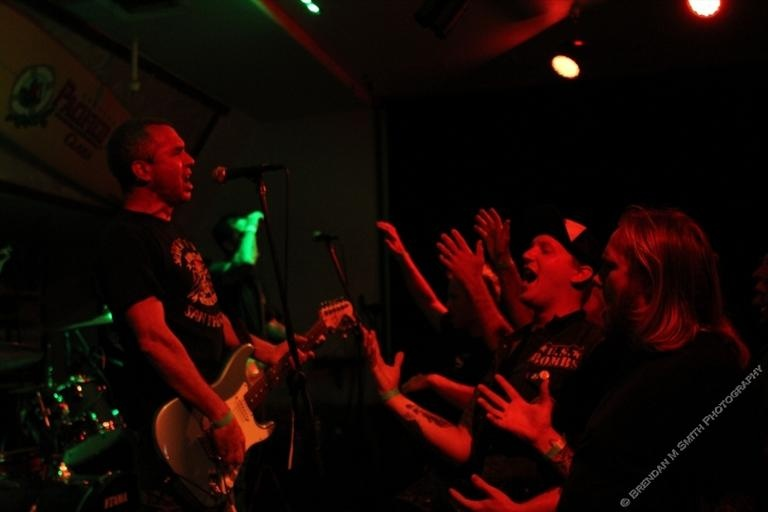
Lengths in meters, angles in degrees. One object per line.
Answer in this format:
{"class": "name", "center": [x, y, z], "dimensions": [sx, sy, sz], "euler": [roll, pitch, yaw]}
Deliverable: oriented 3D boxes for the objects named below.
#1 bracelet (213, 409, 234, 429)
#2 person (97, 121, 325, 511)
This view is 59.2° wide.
{"class": "bracelet", "center": [-0.806, 0.827, 3.403], "dimensions": [0.082, 0.038, 0.084], "euler": [-25, 0, 23]}
{"class": "person", "center": [-1.111, 0.279, 3.494], "dimensions": [0.608, 2.034, 0.317], "euler": [-6, -4, -14]}
